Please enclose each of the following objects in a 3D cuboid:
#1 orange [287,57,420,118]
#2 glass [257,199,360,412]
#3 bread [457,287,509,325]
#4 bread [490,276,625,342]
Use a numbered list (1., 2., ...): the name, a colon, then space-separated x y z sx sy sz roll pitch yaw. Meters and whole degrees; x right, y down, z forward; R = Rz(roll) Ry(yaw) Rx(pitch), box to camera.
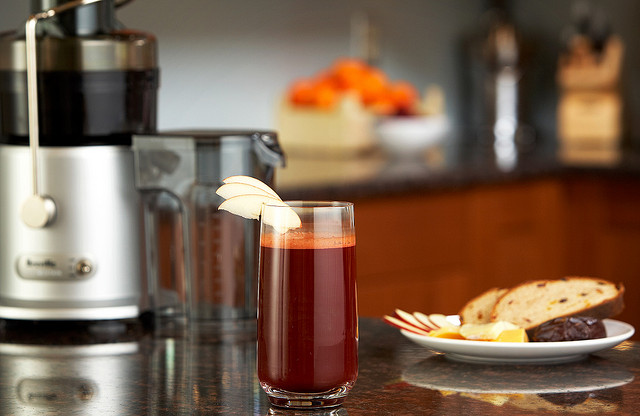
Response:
1. orange: 0.038 -0.308 1.638 0.198 0.073 0.170 1 0 36
2. glass: -0.015 0.116 0.839 0.123 0.251 0.129 -1 13 2
3. bread: 0.249 0.158 1.060 0.067 0.017 0.058 -20 24 40
4. bread: 0.346 0.159 0.994 0.188 0.039 0.205 -25 -9 30
